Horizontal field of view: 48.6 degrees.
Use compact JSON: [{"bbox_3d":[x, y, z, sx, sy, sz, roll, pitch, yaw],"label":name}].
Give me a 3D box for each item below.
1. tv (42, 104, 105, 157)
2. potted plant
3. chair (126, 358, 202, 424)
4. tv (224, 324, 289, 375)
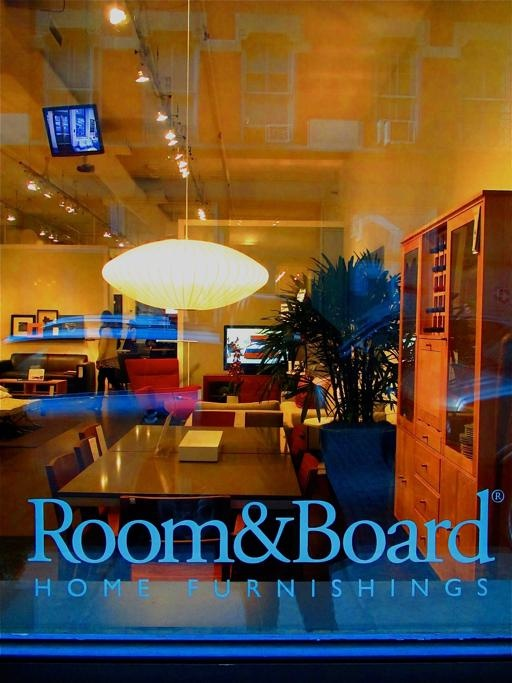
[{"bbox_3d":[-0.753,-0.848,2.292,0.226,0.187,0.018,-16,24,-31],"label":"tv"},{"bbox_3d":[0.259,0.111,3.064,0.965,1.571,0.927,-1,4,1],"label":"potted plant"},{"bbox_3d":[-0.459,0.208,2.505,0.304,0.402,0.323,1,-1,-38],"label":"chair"},{"bbox_3d":[0.012,0.030,2.307,0.221,0.146,0.029,0,-3,8],"label":"tv"}]
